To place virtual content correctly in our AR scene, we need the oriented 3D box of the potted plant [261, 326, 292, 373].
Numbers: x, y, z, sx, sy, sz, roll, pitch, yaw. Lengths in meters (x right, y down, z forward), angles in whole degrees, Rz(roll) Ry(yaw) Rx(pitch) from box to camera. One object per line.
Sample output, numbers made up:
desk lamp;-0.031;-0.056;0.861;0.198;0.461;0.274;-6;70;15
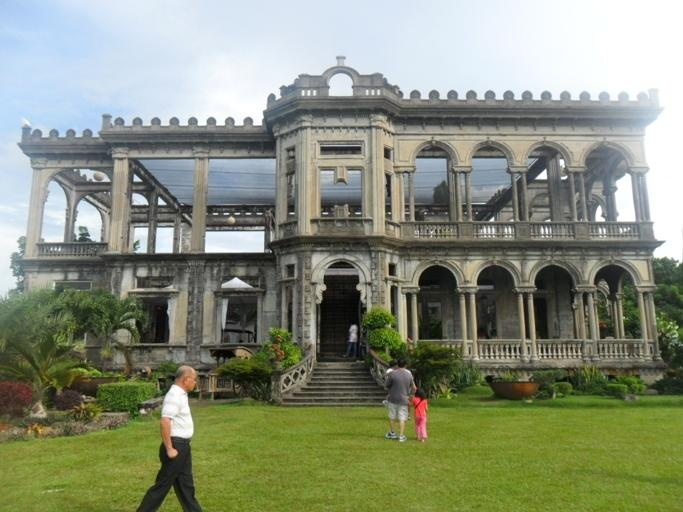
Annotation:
potted plant;-2.733;3.919;23.712;1.084;1.703;1.487;2;-12;-13
